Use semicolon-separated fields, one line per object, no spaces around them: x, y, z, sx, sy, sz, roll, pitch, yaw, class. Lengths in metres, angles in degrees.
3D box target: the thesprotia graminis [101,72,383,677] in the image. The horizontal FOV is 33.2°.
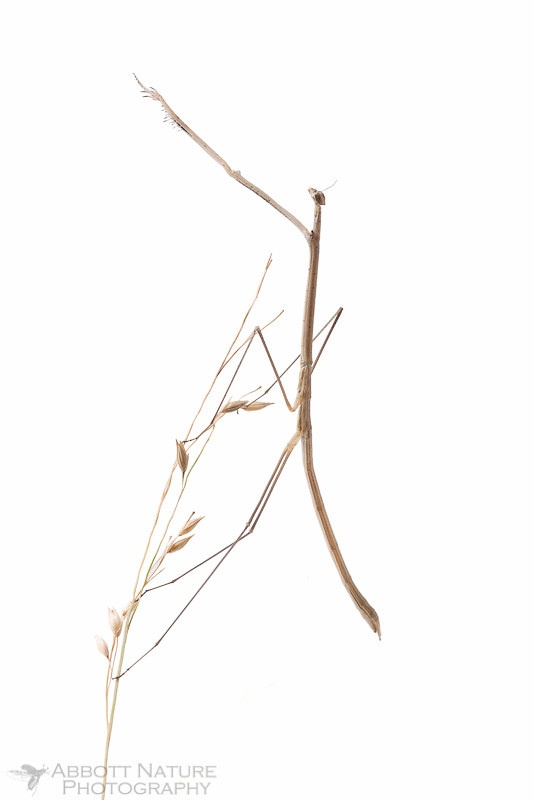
-0.035;0.046;1.935;0.467;0.725;1.283;3;-43;-18;thesprotia graminis
